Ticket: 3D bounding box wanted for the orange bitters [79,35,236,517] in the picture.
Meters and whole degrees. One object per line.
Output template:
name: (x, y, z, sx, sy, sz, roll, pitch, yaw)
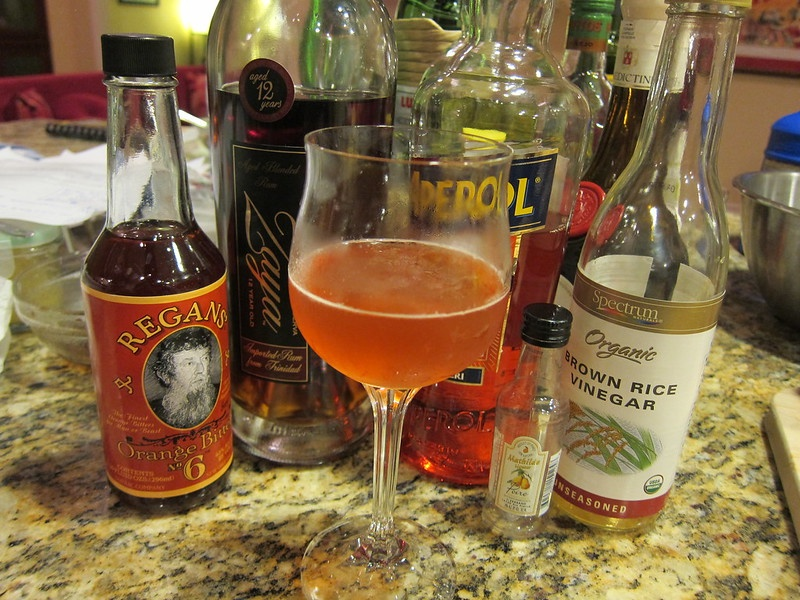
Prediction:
orange bitters: (-0.258, -0.010, 0.718, 0.144, 0.509, 0.114, -4, 24, -15)
